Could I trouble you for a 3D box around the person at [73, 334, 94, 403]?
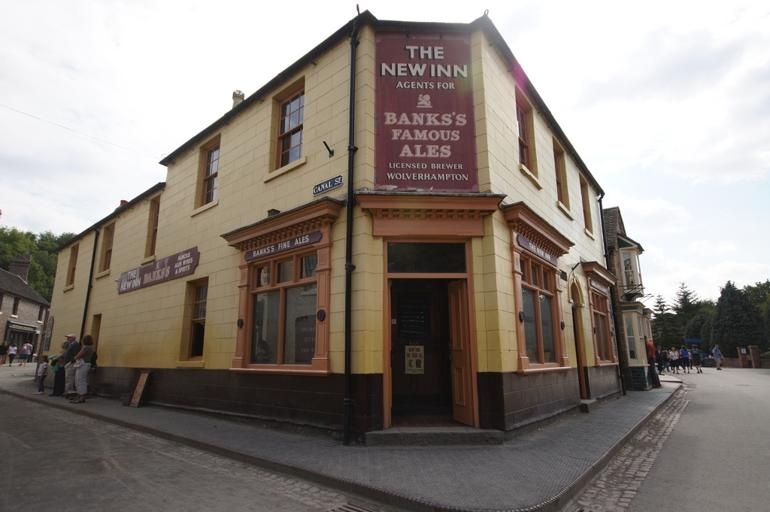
[{"bbox_3d":[-10.663,4.006,15.621,0.608,2.219,1.381,1,-3,-34],"label":"person"}]
